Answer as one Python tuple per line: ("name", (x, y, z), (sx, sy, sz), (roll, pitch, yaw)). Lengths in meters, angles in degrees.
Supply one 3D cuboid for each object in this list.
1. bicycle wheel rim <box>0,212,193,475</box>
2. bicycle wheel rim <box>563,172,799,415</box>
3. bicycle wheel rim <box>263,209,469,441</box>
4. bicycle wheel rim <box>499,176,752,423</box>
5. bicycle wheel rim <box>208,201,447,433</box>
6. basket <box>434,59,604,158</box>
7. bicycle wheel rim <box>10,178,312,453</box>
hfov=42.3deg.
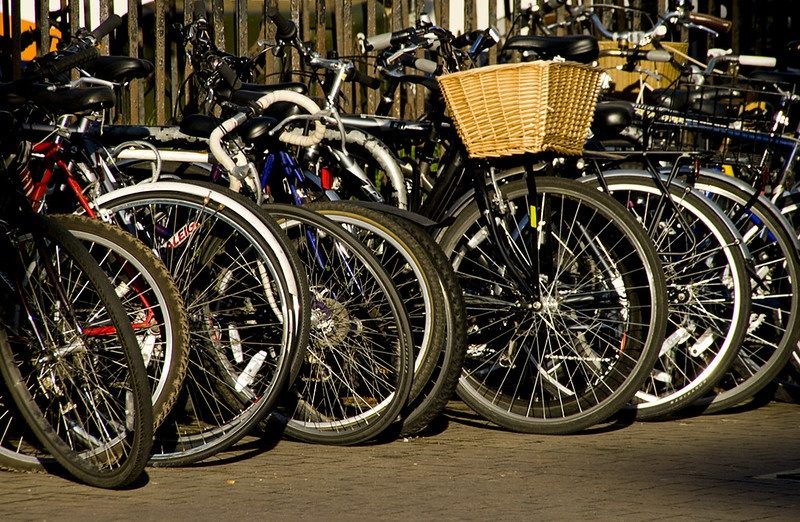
("bicycle wheel rim", (-1.351, 0.400, 4.845), (1.123, 1.244, 0.267), (2, 3, 21))
("bicycle wheel rim", (1.604, 0.107, 6.385), (1.293, 1.437, 1.338), (-1, 2, 6))
("bicycle wheel rim", (-0.214, 0.341, 5.538), (1.148, 1.216, 0.288), (-10, -7, 29))
("bicycle wheel rim", (1.246, 0.204, 5.818), (1.270, 1.410, 0.261), (-1, 3, 5))
("bicycle wheel rim", (-0.319, 0.340, 5.594), (1.279, 1.360, 0.225), (11, -7, -30))
("basket", (0.614, -0.800, 5.423), (0.518, 0.390, 0.703), (-4, -4, 3))
("bicycle wheel rim", (-0.973, 0.246, 5.495), (1.249, 1.356, 0.321), (3, 3, 11))
